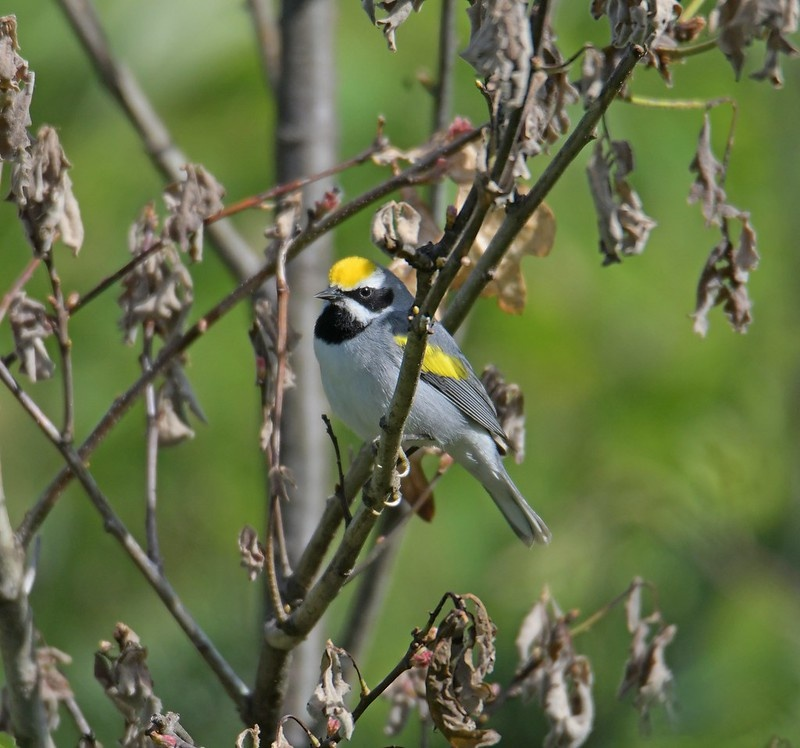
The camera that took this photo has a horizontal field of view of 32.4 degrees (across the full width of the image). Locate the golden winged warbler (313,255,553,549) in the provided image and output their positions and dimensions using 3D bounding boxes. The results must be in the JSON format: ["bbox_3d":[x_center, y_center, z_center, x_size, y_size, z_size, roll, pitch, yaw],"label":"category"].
[{"bbox_3d":[0.115,0.129,4.870,1.035,0.349,0.464,48,-49,2],"label":"golden winged warbler"}]
